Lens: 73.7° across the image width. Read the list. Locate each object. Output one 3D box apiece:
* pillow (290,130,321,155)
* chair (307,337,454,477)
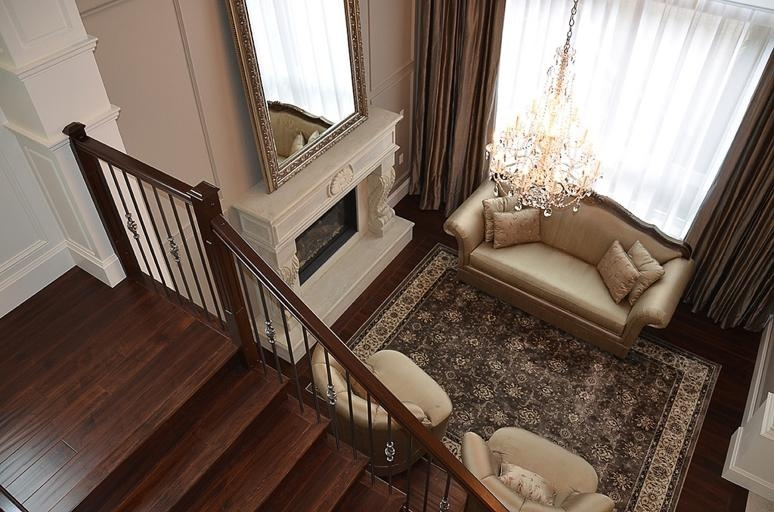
[{"bbox_3d":[-0.838,-1.133,5.080,0.255,0.078,0.254,-20,65,8],"label":"pillow"},{"bbox_3d":[-0.057,1.279,4.229,0.866,0.913,0.837,35,58,26],"label":"chair"}]
